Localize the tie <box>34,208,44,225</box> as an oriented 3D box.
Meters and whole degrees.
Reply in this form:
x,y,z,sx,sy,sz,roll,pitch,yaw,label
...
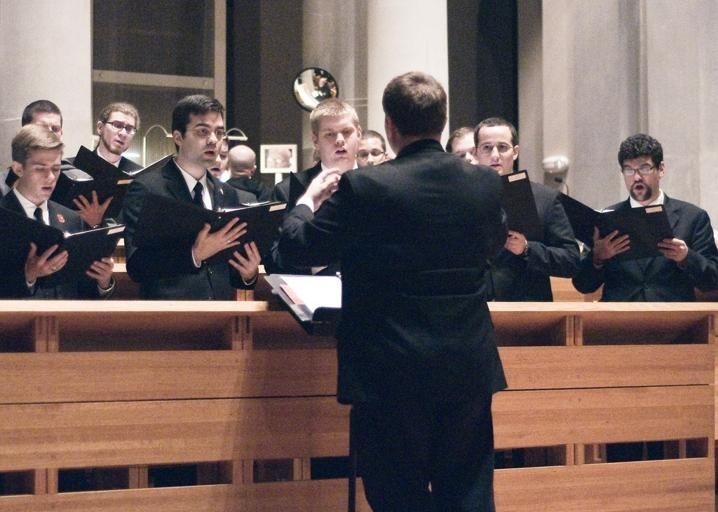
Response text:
x,y,z,sx,sy,sz,roll,pitch,yaw,label
-1.990,-0.247,6.171,0.039,0.127,0.077,-2,-3,44,tie

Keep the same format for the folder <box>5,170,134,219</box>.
x,y,z,sx,sy,sz,roll,pitch,yaw,label
-1.882,-0.458,6.879,0.495,0.460,0.127,8,27,-36,folder

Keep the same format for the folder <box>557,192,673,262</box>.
x,y,z,sx,sy,sz,roll,pitch,yaw,label
1.646,-0.208,6.411,0.582,0.445,0.216,11,32,3,folder

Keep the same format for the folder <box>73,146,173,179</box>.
x,y,z,sx,sy,sz,roll,pitch,yaw,label
-1.714,-0.622,7.342,0.708,0.172,0.415,2,-23,-34,folder
